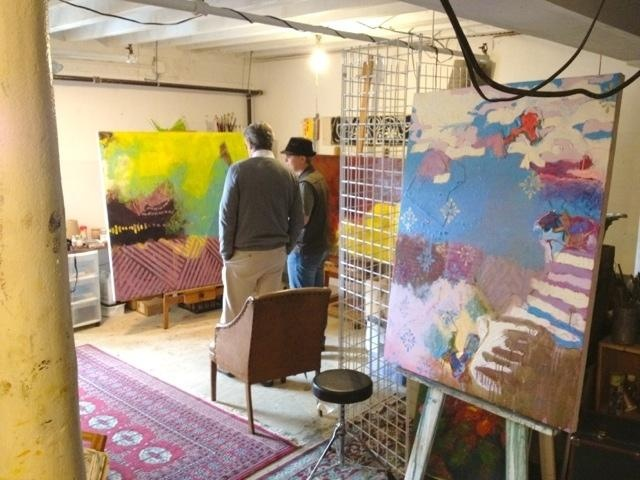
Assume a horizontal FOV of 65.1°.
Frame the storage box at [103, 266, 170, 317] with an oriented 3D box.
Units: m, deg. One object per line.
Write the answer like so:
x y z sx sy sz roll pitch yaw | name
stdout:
-1.918 0.541 5.131 0.569 0.392 0.565 -4 17 -40 | storage box

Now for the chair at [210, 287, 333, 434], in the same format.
-0.322 0.598 3.453 0.771 1.138 0.823 -6 13 -34 | chair

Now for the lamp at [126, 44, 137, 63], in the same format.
-2.391 -2.345 6.352 0.132 0.222 0.162 -5 12 -20 | lamp

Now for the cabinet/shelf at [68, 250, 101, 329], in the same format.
-2.272 0.488 4.879 0.248 0.727 0.362 10 16 44 | cabinet/shelf

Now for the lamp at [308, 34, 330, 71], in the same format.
-0.021 -2.310 6.116 0.134 0.324 0.130 -12 24 -41 | lamp
